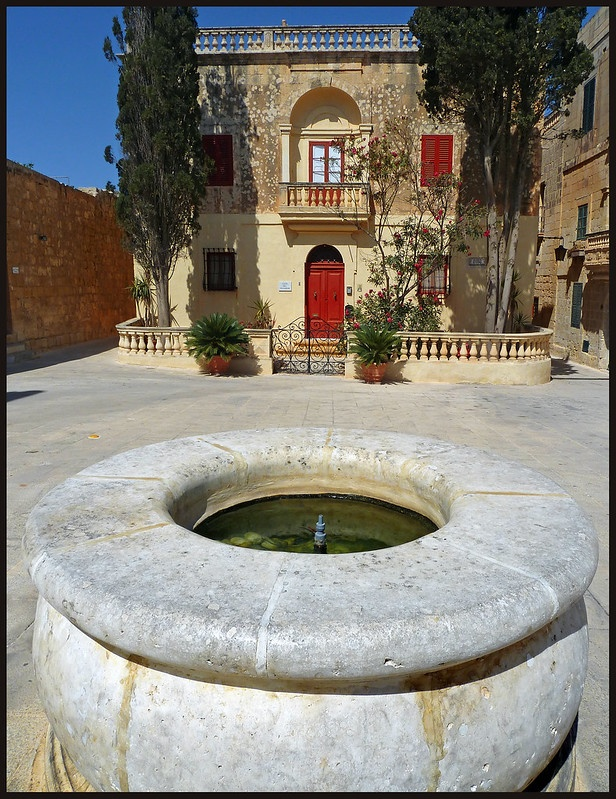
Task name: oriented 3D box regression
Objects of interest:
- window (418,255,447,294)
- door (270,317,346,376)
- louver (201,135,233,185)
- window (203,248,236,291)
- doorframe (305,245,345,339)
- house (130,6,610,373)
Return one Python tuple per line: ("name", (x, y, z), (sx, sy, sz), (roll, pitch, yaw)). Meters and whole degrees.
("window", (4.077, -4.198, 16.291), (1.027, 1.590, 0.101), (-1, 4, -9))
("door", (-0.012, -1.718, 15.724), (1.708, 1.840, 0.083), (4, 14, 16))
("louver", (-3.074, -8.104, 16.833), (1.029, 1.963, 0.109), (-1, -6, -10))
("window", (-3.071, -4.568, 17.154), (1.026, 1.581, 0.688), (0, 2, 0))
("doorframe", (0.604, -3.869, 17.402), (1.326, 0.410, 3.863), (2, -39, 5))
("house", (1.463, -6.467, 15.104), (9.075, 9.130, 5.753), (0, 8, 4))
